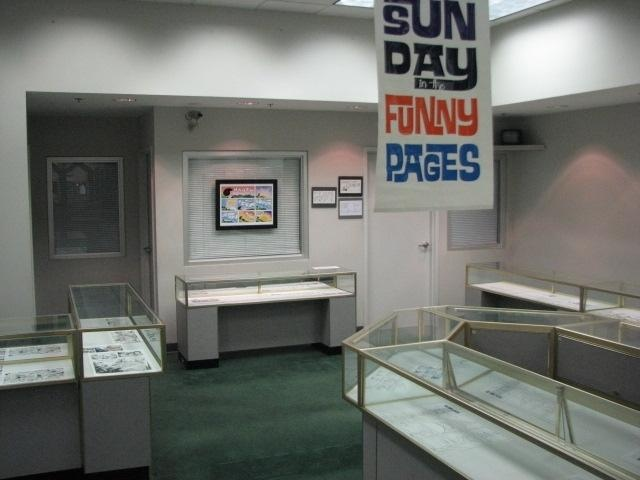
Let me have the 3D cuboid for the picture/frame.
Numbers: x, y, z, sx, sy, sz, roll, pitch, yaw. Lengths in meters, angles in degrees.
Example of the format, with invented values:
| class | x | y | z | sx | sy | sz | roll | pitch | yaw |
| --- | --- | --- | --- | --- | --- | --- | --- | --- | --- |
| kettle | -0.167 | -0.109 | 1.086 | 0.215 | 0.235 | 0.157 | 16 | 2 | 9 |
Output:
| class | x | y | z | sx | sy | sz | roll | pitch | yaw |
| --- | --- | --- | --- | --- | --- | --- | --- | --- | --- |
| picture/frame | -1.159 | -0.555 | 7.115 | 0.782 | 0.650 | 0.037 | -1 | 6 | -16 |
